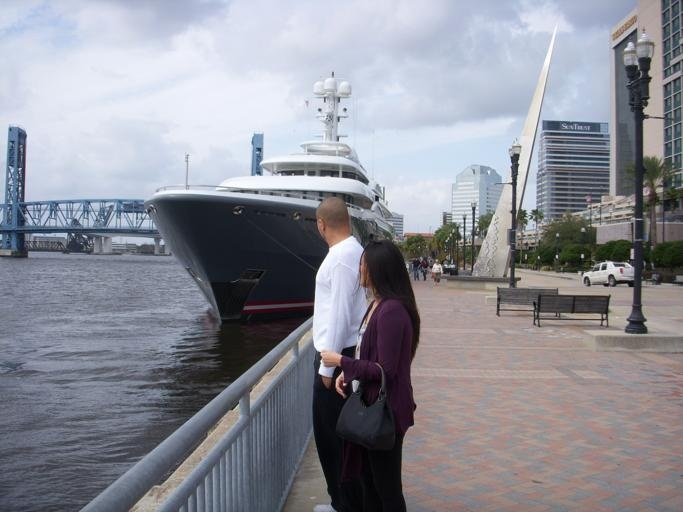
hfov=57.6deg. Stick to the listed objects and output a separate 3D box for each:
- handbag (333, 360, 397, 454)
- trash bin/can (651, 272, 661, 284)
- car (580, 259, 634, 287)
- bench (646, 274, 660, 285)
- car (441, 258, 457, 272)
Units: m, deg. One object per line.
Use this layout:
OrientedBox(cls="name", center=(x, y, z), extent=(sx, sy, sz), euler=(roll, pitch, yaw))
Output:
OrientedBox(cls="handbag", center=(0.165, 1.077, 4.345), extent=(0.403, 0.606, 0.257), euler=(-5, 3, 7))
OrientedBox(cls="trash bin/can", center=(21.119, 1.514, 41.803), extent=(0.512, 0.988, 0.885), euler=(4, 8, 36))
OrientedBox(cls="car", center=(17.402, 1.164, 40.621), extent=(1.774, 1.558, 4.284), euler=(1, 2, -4))
OrientedBox(cls="bench", center=(21.298, 1.638, 42.538), extent=(1.224, 0.488, 0.631), euler=(-1, 1, 4))
OrientedBox(cls="car", center=(10.643, 0.931, 61.866), extent=(0.746, 0.793, 3.316), euler=(-2, -9, 13))
